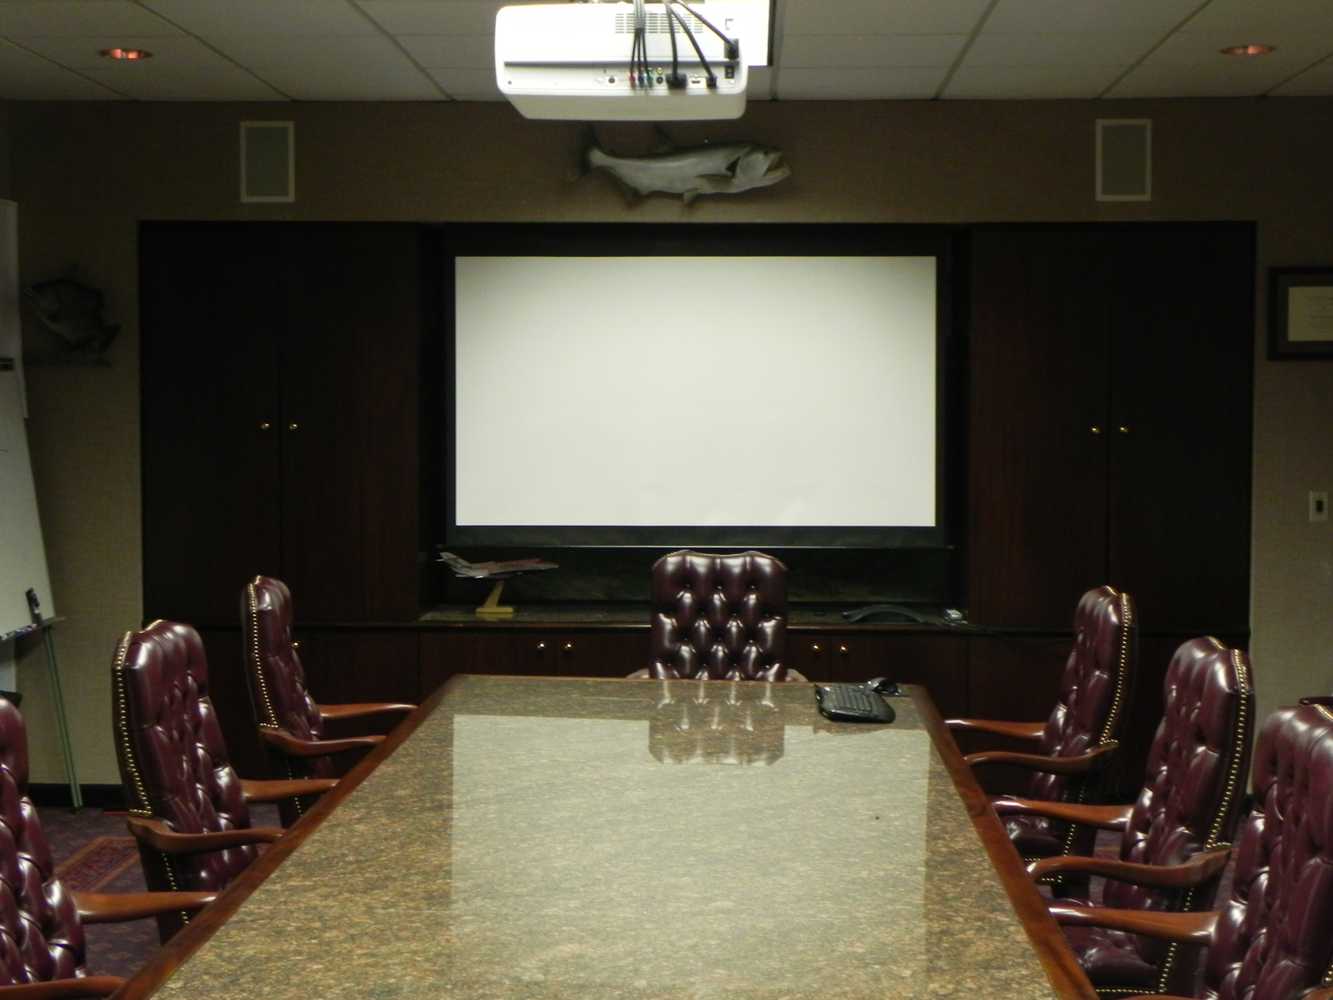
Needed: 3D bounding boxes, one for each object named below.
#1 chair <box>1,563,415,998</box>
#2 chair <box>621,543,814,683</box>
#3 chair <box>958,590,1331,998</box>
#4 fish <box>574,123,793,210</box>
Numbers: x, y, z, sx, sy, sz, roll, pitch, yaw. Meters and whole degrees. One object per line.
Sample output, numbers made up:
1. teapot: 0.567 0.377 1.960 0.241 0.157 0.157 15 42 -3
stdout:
1. chair: -1.386 0.809 3.373 0.368 0.645 1.264 0 3 4
2. chair: 0.220 0.417 4.370 0.498 0.737 0.559 0 0 4
3. chair: 1.235 0.713 3.300 0.966 1.403 0.977 -2 4 5
4. fish: 0.079 -1.525 4.907 0.919 0.334 0.094 0 12 4
